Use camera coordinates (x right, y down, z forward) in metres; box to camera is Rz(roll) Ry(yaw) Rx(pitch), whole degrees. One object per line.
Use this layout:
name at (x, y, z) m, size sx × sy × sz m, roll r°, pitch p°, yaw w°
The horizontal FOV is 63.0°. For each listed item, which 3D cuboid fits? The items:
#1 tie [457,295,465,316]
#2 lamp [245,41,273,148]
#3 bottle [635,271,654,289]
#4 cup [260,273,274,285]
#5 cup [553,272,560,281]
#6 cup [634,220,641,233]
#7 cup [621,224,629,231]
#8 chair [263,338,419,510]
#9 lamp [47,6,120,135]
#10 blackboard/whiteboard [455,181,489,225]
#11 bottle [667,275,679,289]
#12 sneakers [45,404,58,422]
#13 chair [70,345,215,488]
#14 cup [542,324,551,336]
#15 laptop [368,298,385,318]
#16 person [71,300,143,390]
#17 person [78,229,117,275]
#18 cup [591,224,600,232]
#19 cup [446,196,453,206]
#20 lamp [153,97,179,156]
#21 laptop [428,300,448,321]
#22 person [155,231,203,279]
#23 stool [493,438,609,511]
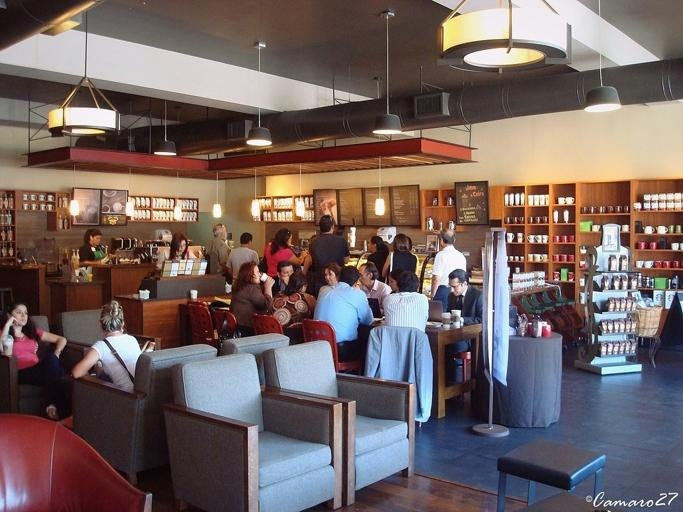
tie at (1.441, 0.588, 6.663) m, size 0.084 × 0.244 × 0.051 m, roll 7°, pitch 8°, yaw 11°
lamp at (-1.226, -2.430, 8.336) m, size 0.378 × 1.472 × 0.364 m, roll 11°, pitch 20°, yaw 23°
bottle at (4.883, 0.391, 8.932) m, size 0.142 × 0.250 × 0.267 m, roll -12°, pitch 12°, yaw -43°
cup at (-1.048, 0.308, 7.536) m, size 0.150 × 0.149 × 0.239 m, roll 1°, pitch 0°, yaw 25°
cup at (3.947, 0.371, 10.192) m, size 0.112 × 0.133 × 0.136 m, roll 1°, pitch -5°, yaw 0°
cup at (5.018, -0.494, 9.364) m, size 0.116 × 0.211 × 0.112 m, roll 5°, pitch 8°, yaw -1°
cup at (4.822, -0.478, 9.422) m, size 0.089 × 0.087 × 0.117 m, roll -3°, pitch -8°, yaw 32°
chair at (-0.027, 1.313, 4.748) m, size 1.185 × 1.190 × 1.078 m, roll -3°, pitch -4°, yaw 42°
lamp at (-2.916, -2.077, 6.291) m, size 1.021 × 1.349 × 1.029 m, roll -3°, pitch 8°, yaw -21°
blackboard/whiteboard at (2.579, -1.041, 10.848) m, size 0.824 × 1.026 × 0.108 m, roll 3°, pitch 4°, yaw 42°
bottle at (5.467, 0.435, 9.117) m, size 0.072 × 0.204 × 0.148 m, roll 4°, pitch -1°, yaw -34°
sneakers at (-2.776, 1.476, 5.294) m, size 0.119 × 0.159 × 0.155 m, roll 8°, pitch 4°, yaw -16°
chair at (-1.656, 1.204, 4.807) m, size 1.157 × 1.197 × 0.858 m, roll 3°, pitch 2°, yaw 45°
cup at (2.090, 0.757, 5.720) m, size 0.129 × 0.126 × 0.085 m, roll 1°, pitch -1°, yaw -43°
laptop at (0.443, 0.651, 6.986) m, size 0.268 × 0.260 × 0.190 m, roll -1°, pitch 0°, yaw 16°
person at (-2.070, 0.826, 4.913) m, size 0.580 × 0.812 × 0.558 m, roll -4°, pitch -7°, yaw -4°
person at (-4.918, -0.097, 11.044) m, size 0.881 × 0.944 × 0.958 m, roll 0°, pitch 2°, yaw 11°
cup at (4.463, -0.494, 9.759) m, size 0.127 × 0.096 × 0.100 m, roll 2°, pitch -5°, yaw -1°
cup at (2.197, -1.109, 11.213) m, size 0.161 × 0.165 × 0.121 m, roll 2°, pitch -2°, yaw -31°
lamp at (-3.098, -2.368, 9.768) m, size 0.350 × 1.233 × 0.359 m, roll -1°, pitch -3°, yaw -10°
laptop at (1.093, 0.618, 6.251) m, size 0.170 × 0.245 × 0.201 m, roll 1°, pitch -2°, yaw 18°
person at (-2.679, 0.152, 9.130) m, size 0.383 × 1.077 × 0.787 m, roll 15°, pitch 17°, yaw 36°
stool at (1.403, 1.313, 3.723) m, size 0.556 × 0.567 × 0.549 m, roll 4°, pitch 4°, yaw 44°
